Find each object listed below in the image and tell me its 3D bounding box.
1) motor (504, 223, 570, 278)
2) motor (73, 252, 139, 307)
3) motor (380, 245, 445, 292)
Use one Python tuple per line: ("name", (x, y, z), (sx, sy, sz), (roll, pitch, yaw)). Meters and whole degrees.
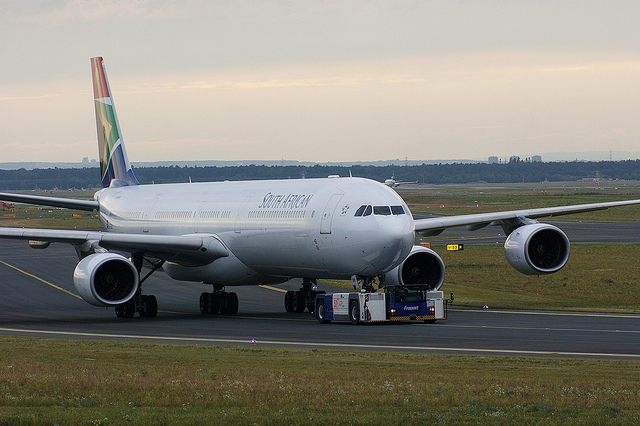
("motor", (10.453, 1.654, 54.442), (2.720, 2.139, 3.277), (-12, 6, -18))
("motor", (-10.388, 3.183, 52.677), (2.991, 2.312, 3.676), (-4, 0, -23))
("motor", (4.700, 2.599, 53.158), (2.518, 2.085, 0.886), (2, -5, -23))
